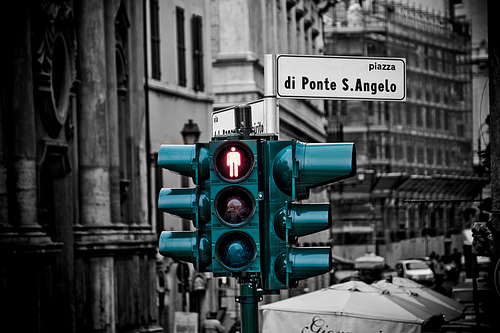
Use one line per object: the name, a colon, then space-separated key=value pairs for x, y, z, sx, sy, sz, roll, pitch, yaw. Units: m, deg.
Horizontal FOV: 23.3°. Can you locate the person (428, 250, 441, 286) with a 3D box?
person: x=4.879 y=2.658 z=31.831 sx=0.288 sy=0.802 sz=1.194 roll=-3 pitch=-10 yaw=8

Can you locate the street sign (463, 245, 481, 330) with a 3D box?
street sign: x=5.016 y=2.645 z=27.086 sx=0.323 sy=1.726 sz=1.894 roll=-4 pitch=-10 yaw=10

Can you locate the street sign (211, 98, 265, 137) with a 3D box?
street sign: x=-0.174 y=-0.812 z=22.608 sx=1.154 sy=0.712 sz=0.062 roll=-18 pitch=23 yaw=-19
